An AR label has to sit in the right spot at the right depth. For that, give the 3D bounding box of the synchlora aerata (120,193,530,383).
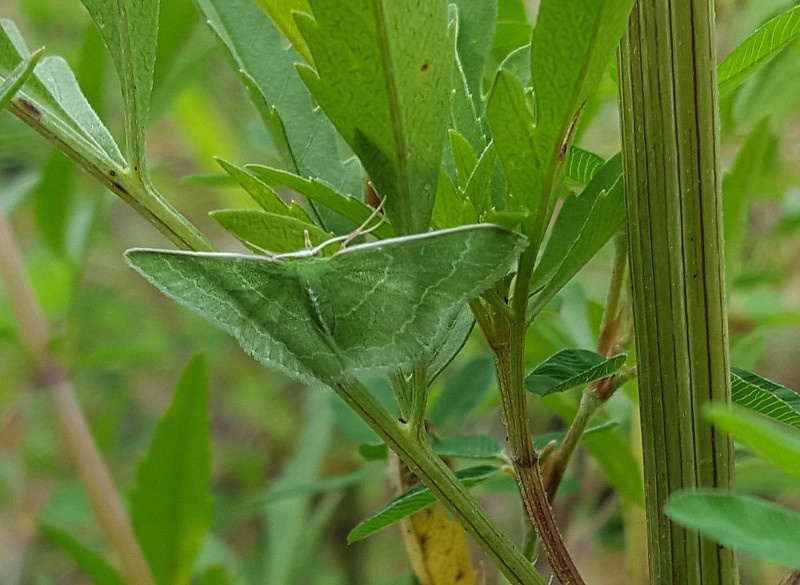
[{"bbox_3d":[-0.030,0.034,0.790,0.273,0.123,0.115,-2,74,7],"label":"synchlora aerata"}]
